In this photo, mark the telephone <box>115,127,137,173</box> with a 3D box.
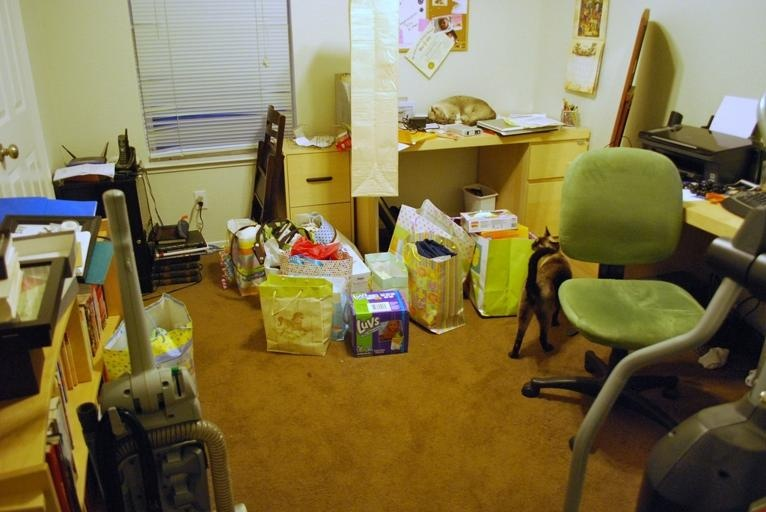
[{"bbox_3d":[-1.721,-0.711,3.741,0.122,0.233,0.345,-2,24,-20],"label":"telephone"}]

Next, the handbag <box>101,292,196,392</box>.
[{"bbox_3d":[-1.008,0.366,2.376,0.225,0.306,0.394,32,44,31],"label":"handbag"}]

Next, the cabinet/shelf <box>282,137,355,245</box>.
[{"bbox_3d":[-0.508,-0.429,4.192,0.510,0.825,0.564,-4,26,-10],"label":"cabinet/shelf"}]

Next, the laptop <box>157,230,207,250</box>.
[{"bbox_3d":[-1.432,-0.131,3.978,0.327,0.089,0.300,-8,23,-17],"label":"laptop"}]

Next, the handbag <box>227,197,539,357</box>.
[{"bbox_3d":[0.323,-0.017,3.662,1.233,0.442,0.938,10,14,39],"label":"handbag"}]

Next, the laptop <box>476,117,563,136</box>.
[{"bbox_3d":[0.967,-0.909,3.970,0.596,0.090,0.282,-8,23,-17],"label":"laptop"}]

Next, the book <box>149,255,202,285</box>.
[{"bbox_3d":[-1.421,0.091,3.870,0.328,0.182,0.173,-10,24,-23],"label":"book"}]

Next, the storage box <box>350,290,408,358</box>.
[{"bbox_3d":[-0.021,0.388,3.138,0.305,0.286,0.322,-4,28,-5],"label":"storage box"}]

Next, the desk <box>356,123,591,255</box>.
[{"bbox_3d":[0.760,-0.632,4.292,2.000,1.140,0.814,-5,20,-14],"label":"desk"}]

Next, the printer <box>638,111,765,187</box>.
[{"bbox_3d":[1.747,-0.598,2.997,0.342,0.261,0.494,-14,31,-17],"label":"printer"}]

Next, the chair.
[{"bbox_3d":[1.076,0.145,2.595,0.776,1.208,0.743,3,17,12],"label":"chair"}]

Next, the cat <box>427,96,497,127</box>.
[{"bbox_3d":[0.565,-1.075,4.159,0.362,0.153,0.275,1,12,-5],"label":"cat"}]

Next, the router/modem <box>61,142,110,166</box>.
[{"bbox_3d":[-1.982,-0.671,3.740,0.301,0.095,0.382,-11,24,-23],"label":"router/modem"}]
